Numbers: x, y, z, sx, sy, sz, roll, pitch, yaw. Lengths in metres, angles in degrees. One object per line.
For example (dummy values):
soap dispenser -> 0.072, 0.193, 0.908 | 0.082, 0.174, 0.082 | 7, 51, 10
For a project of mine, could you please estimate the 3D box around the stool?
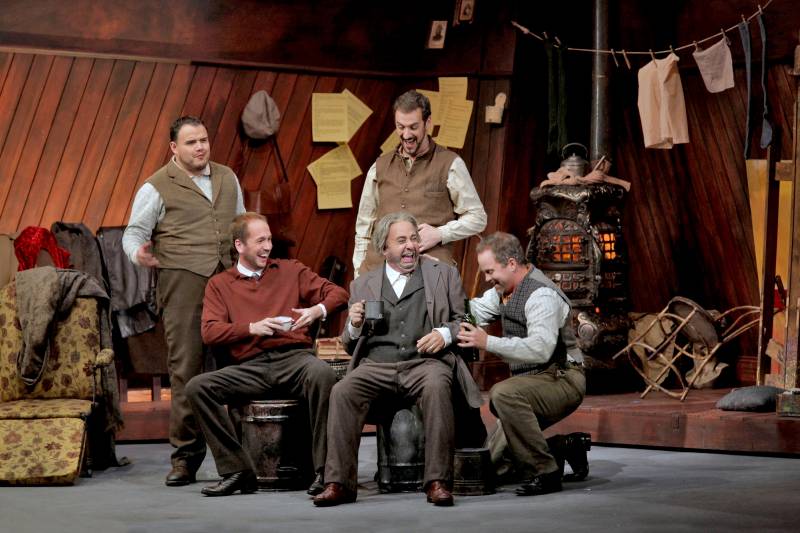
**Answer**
stool -> -0.832, 1.267, 6.517 | 0.575, 0.578, 0.563 | -2, -7, -30

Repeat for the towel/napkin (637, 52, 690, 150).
towel/napkin -> 2.528, -1.594, 8.733 | 0.463, 0.882, 0.205 | 1, 8, 13

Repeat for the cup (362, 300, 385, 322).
cup -> -0.172, 0.291, 6.034 | 0.124, 0.141, 0.171 | -1, 8, -3

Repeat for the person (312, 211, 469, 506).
person -> 0.003, 0.572, 6.081 | 0.966, 1.825, 0.924 | 0, 8, 3

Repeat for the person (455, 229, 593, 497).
person -> 0.845, 0.673, 6.259 | 0.829, 1.790, 0.788 | 1, 8, 11

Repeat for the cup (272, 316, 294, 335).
cup -> -0.790, 0.393, 6.262 | 0.153, 0.094, 0.106 | -4, 9, -24
